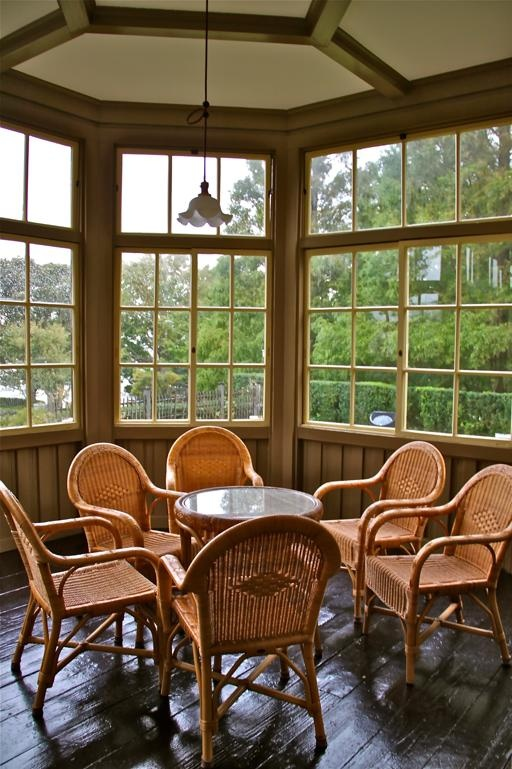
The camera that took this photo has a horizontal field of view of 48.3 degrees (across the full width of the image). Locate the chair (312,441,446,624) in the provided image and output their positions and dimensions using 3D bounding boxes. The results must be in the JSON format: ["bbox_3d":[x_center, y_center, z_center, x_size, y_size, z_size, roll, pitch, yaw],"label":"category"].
[{"bbox_3d":[0.607,0.683,2.874,0.594,0.772,0.597,2,1,-5],"label":"chair"}]

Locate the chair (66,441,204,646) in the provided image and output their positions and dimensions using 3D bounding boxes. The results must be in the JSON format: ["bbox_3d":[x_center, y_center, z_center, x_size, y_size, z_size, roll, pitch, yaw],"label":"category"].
[{"bbox_3d":[-0.538,0.759,2.661,0.597,0.873,0.517,7,7,38],"label":"chair"}]

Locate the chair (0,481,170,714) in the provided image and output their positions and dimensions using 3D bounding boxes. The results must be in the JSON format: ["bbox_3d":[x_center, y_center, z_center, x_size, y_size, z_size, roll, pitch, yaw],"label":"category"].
[{"bbox_3d":[-0.620,0.669,2.359,0.764,1.068,0.672,-2,8,-26],"label":"chair"}]

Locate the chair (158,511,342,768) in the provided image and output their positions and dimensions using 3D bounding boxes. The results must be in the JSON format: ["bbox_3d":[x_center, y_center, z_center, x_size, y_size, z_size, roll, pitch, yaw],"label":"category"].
[{"bbox_3d":[-0.038,0.718,1.782,0.490,0.683,0.649,1,0,-9],"label":"chair"}]

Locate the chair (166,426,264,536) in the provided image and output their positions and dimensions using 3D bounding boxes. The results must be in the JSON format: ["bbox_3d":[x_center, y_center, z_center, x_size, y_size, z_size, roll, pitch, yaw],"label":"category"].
[{"bbox_3d":[-0.234,0.608,3.100,0.518,0.734,0.491,4,-4,-7],"label":"chair"}]
